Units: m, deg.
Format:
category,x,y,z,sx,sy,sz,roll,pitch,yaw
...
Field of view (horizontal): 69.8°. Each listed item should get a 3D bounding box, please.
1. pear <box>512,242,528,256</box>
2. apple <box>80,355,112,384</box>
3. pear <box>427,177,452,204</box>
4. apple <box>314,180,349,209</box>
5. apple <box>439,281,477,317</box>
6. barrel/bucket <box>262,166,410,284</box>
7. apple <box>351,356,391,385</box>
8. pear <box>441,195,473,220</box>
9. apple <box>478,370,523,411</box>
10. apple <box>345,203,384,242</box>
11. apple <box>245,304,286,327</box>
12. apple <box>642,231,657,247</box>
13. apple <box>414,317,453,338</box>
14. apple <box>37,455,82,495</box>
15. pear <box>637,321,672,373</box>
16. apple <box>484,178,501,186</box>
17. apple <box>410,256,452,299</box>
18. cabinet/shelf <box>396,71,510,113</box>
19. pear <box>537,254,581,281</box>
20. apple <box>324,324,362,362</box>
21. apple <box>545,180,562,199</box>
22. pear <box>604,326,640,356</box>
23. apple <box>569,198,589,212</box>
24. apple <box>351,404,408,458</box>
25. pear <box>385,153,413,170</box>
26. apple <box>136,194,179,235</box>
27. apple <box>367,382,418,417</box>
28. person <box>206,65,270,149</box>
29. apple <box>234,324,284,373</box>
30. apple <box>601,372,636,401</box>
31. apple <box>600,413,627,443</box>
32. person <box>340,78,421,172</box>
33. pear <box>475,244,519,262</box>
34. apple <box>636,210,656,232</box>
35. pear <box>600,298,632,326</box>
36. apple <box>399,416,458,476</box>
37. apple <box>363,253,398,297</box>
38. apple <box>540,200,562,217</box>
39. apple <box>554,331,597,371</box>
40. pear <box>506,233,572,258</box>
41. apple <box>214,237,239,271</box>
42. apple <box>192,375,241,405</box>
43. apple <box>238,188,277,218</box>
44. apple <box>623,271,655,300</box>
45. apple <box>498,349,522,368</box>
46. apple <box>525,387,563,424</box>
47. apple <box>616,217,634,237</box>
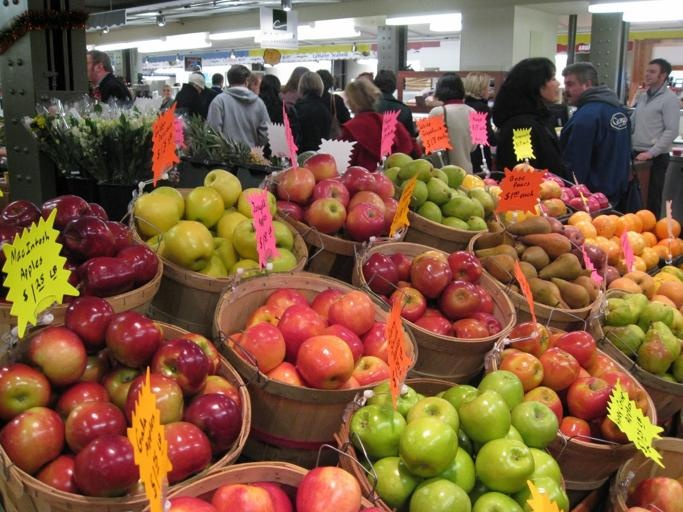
category,x,y,z,sx,sy,sz,roll,pitch,yaw
pear,0.959,-0.042,2.646,0.064,0.088,0.069,-1,0,7
apple,-0.793,0.365,1.580,0.068,0.078,0.074,-2,1,-17
pear,0.559,-0.379,2.936,0.115,0.160,0.113,3,-38,-48
apple,-0.052,-0.345,2.595,0.141,0.160,0.141,11,-3,-18
apple,0.533,0.196,2.289,0.143,0.163,0.155,13,0,6
barrel/bucket,-0.051,-0.144,2.593,0.564,0.483,0.650,3,39,-26
apple,0.109,0.428,1.821,0.085,0.089,0.091,-2,9,-7
pear,0.685,-0.286,2.879,0.179,0.125,0.074,-4,17,-13
apple,0.558,0.449,1.717,0.122,0.140,0.128,9,-4,-10
apple,0.122,-0.176,2.523,0.176,0.191,0.181,22,-28,-19
apple,-0.296,0.234,1.957,0.088,0.102,0.097,0,-5,-5
apple,2.110,-0.118,3.372,0.077,0.101,0.079,-9,8,35
apple,0.404,0.307,2.128,0.102,0.101,0.119,26,-16,-28
apple,-0.757,0.587,1.319,0.091,0.092,0.088,-12,-23,-35
pear,1.380,0.422,2.216,0.116,0.234,0.111,17,-32,-6
apple,1.113,-0.549,3.640,0.068,0.055,0.091,3,4,0
apple,0.423,0.082,2.324,0.194,0.221,0.200,9,22,2
cabinet/shelf,2.031,-3.582,10.349,1.754,0.824,1.917,5,28,14
pear,1.127,0.058,2.568,0.192,0.121,0.120,-24,-10,8
apple,0.005,0.330,1.867,0.123,0.144,0.129,8,-13,-2
apple,1.516,-0.481,3.523,0.091,0.101,0.102,19,13,5
pear,1.311,0.380,2.319,0.140,0.124,0.108,31,8,27
apple,1.714,-0.381,3.559,0.114,0.116,0.111,26,23,28
apple,0.124,0.547,1.595,0.141,0.160,0.157,-22,34,42
pear,0.360,-0.605,3.134,0.132,0.113,0.113,-23,-5,-35
apple,-0.838,-0.198,2.212,0.167,0.188,0.177,13,19,10
apple,0.174,0.470,1.645,0.108,0.118,0.135,21,22,23
person,-1.233,-1.721,5.917,0.770,0.484,1.479,3,5,-9
apple,-0.271,0.305,1.772,0.148,0.170,0.155,-4,13,19
apple,1.033,0.490,1.837,0.080,0.107,0.084,-16,-3,1
apple,0.988,0.641,1.790,0.084,0.099,0.090,-4,1,-26
person,0.172,-0.982,4.058,0.536,0.787,0.363,-4,-17,-33
pear,0.808,-0.027,2.533,0.191,0.094,0.087,-8,-1,19
apple,2.146,-0.249,3.468,0.105,0.128,0.106,-41,17,-13
pear,1.337,0.266,2.397,0.116,0.124,0.105,-21,42,-29
apple,0.252,0.558,1.504,0.152,0.157,0.171,32,37,-15
apple,0.176,0.091,2.257,0.115,0.182,0.106,-13,-29,10
apple,1.409,-0.323,3.303,0.102,0.112,0.109,-3,24,-14
apple,0.977,0.371,2.037,0.143,0.154,0.149,4,-1,-43
pear,1.104,-0.070,2.688,0.255,0.124,0.115,9,-11,12
apple,-0.539,-0.009,2.288,0.082,0.100,0.084,-34,14,16
apple,-0.410,0.413,1.593,0.085,0.121,0.097,-10,-1,-5
apple,-0.420,-0.280,2.434,0.148,0.171,0.195,-6,-9,-14
apple,1.680,0.158,2.799,0.135,0.154,0.148,-2,-27,-2
apple,0.661,0.403,1.929,0.066,0.068,0.062,-22,20,-30
apple,0.756,0.555,1.869,0.106,0.127,0.119,9,-9,27
apple,1.880,-0.194,3.260,0.091,0.126,0.097,7,-19,-5
